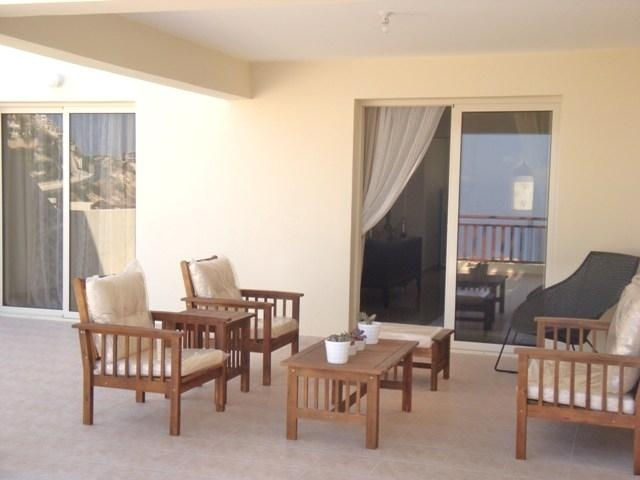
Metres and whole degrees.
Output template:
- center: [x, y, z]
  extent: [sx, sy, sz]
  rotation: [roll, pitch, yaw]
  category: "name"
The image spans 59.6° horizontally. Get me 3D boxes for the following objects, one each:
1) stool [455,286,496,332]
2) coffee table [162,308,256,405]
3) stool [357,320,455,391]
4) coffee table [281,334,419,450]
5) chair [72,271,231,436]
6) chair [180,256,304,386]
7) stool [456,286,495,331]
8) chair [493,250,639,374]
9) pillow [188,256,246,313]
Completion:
- center: [1.718, 0.733, 6.093]
  extent: [0.440, 0.429, 0.456]
  rotation: [1, 3, 19]
  category: "stool"
- center: [-0.927, 0.909, 4.626]
  extent: [0.644, 0.596, 0.649]
  rotation: [2, 6, 19]
  category: "coffee table"
- center: [0.810, 1.003, 5.016]
  extent: [0.606, 0.400, 0.542]
  rotation: [2, 3, 22]
  category: "stool"
- center: [0.238, 1.089, 4.203]
  extent: [0.863, 0.583, 1.005]
  rotation: [2, 6, 15]
  category: "coffee table"
- center: [-1.258, 0.833, 4.268]
  extent: [0.975, 1.021, 0.990]
  rotation: [3, 1, 26]
  category: "chair"
- center: [-0.736, 0.694, 5.520]
  extent: [1.144, 1.378, 1.123]
  rotation: [-1, 1, 20]
  category: "chair"
- center: [1.703, 0.740, 6.102]
  extent: [0.448, 0.429, 0.445]
  rotation: [1, 1, 10]
  category: "stool"
- center: [2.388, 0.731, 5.727]
  extent: [1.329, 1.110, 1.108]
  rotation: [-4, 7, 9]
  category: "chair"
- center: [-0.992, 0.395, 5.169]
  extent: [0.120, 0.398, 0.402]
  rotation: [-18, -10, 29]
  category: "pillow"
